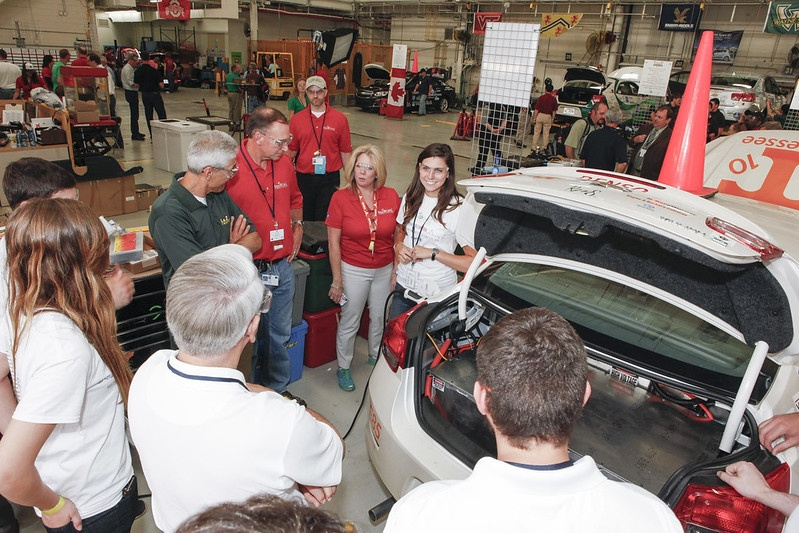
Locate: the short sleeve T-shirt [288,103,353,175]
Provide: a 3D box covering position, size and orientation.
[{"bbox_3d":[-0.955,-1.518,5.692,0.764,0.798,0.423,-2,18,-10],"label":"short sleeve T-shirt"}]

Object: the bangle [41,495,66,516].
[{"bbox_3d":[-1.368,0.962,1.870,0.066,0.069,0.025,26,40,10],"label":"bangle"}]

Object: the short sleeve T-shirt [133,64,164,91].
[{"bbox_3d":[-6.089,-4.560,11.347,0.576,0.640,0.462,-12,28,-27],"label":"short sleeve T-shirt"}]

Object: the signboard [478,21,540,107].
[{"bbox_3d":[0.972,-1.829,4.274,0.544,0.696,0.344,14,28,25],"label":"signboard"}]

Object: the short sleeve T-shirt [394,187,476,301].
[{"bbox_3d":[0.273,-0.160,3.539,0.392,0.784,0.676,-10,22,-41],"label":"short sleeve T-shirt"}]

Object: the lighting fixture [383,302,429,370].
[{"bbox_3d":[0.029,0.427,2.856,0.141,0.328,0.203,9,10,8],"label":"lighting fixture"}]

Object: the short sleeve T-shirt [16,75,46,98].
[{"bbox_3d":[-8.164,-3.968,10.330,0.540,0.481,0.880,-16,31,-33],"label":"short sleeve T-shirt"}]

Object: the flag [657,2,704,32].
[{"bbox_3d":[8.904,-7.910,14.890,1.159,0.769,0.382,15,28,25],"label":"flag"}]

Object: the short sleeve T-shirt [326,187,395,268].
[{"bbox_3d":[-0.312,-0.318,3.823,0.526,0.513,0.309,-6,21,-26],"label":"short sleeve T-shirt"}]

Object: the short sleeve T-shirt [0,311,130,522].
[{"bbox_3d":[-1.342,0.643,1.900,0.381,0.881,0.318,-12,28,-26],"label":"short sleeve T-shirt"}]

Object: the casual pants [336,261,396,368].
[{"bbox_3d":[-0.199,0.375,4.168,0.204,0.292,0.696,13,54,-2],"label":"casual pants"}]

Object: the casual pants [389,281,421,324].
[{"bbox_3d":[0.051,0.271,3.590,0.147,0.329,0.108,32,35,0],"label":"casual pants"}]

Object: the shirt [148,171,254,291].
[{"bbox_3d":[-1.364,-0.231,3.198,0.455,0.829,0.704,17,38,1],"label":"shirt"}]

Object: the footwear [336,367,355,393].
[{"bbox_3d":[-0.469,0.977,4.031,0.096,0.109,0.233,-7,32,-24],"label":"footwear"}]

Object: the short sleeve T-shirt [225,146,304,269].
[{"bbox_3d":[-0.973,-0.414,3.336,0.372,0.784,0.703,20,30,29],"label":"short sleeve T-shirt"}]
